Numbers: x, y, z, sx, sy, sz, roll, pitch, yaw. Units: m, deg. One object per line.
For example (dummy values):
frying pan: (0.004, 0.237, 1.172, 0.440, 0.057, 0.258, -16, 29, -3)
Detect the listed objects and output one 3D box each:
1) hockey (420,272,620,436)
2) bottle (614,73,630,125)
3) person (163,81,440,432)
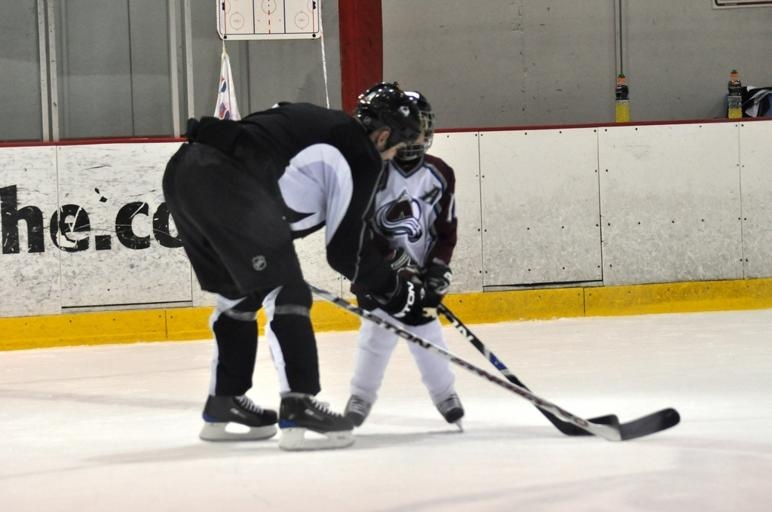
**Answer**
hockey: (0.886, 0.714, 8.235, 0.410, 0.968, 0.160, -30, -15, -34)
bottle: (2.248, -1.514, 11.236, 0.121, 0.446, 0.307, 4, 4, 13)
person: (-0.672, 0.116, 7.107, 1.376, 2.076, 0.333, 2, 4, -12)
